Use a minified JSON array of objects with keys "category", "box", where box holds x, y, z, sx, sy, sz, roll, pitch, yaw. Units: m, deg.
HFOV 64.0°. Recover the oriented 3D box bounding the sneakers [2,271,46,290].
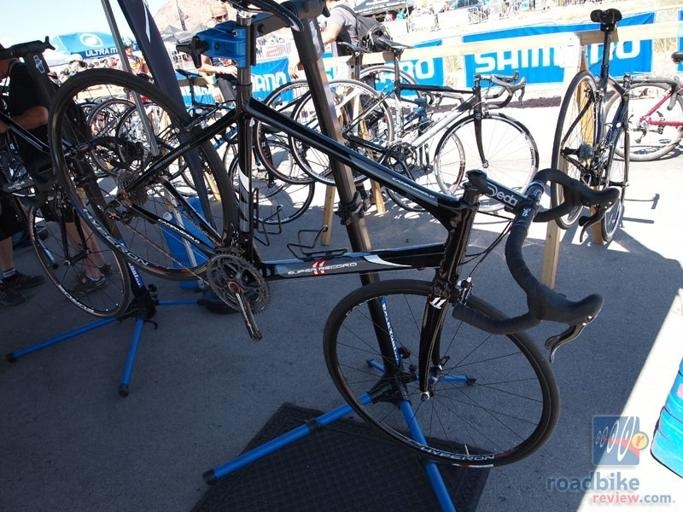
[{"category":"sneakers","box":[-2.744,0.217,4.732,0.285,0.121,0.104,-10,27,-34]}]
